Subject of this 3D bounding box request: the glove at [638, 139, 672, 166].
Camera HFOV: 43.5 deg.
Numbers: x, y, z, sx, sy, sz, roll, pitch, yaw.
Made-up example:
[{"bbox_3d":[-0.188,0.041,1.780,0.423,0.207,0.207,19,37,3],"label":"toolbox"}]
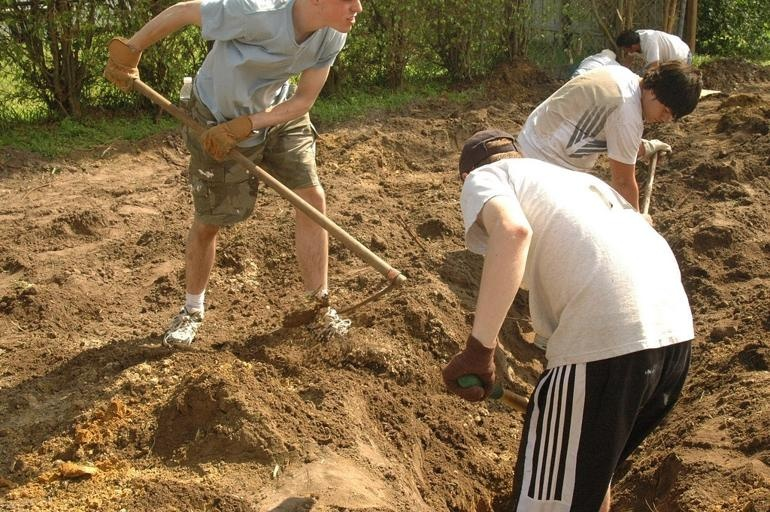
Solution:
[{"bbox_3d":[3.014,-1.162,10.786,0.544,0.178,0.170,-16,25,-7],"label":"glove"}]
